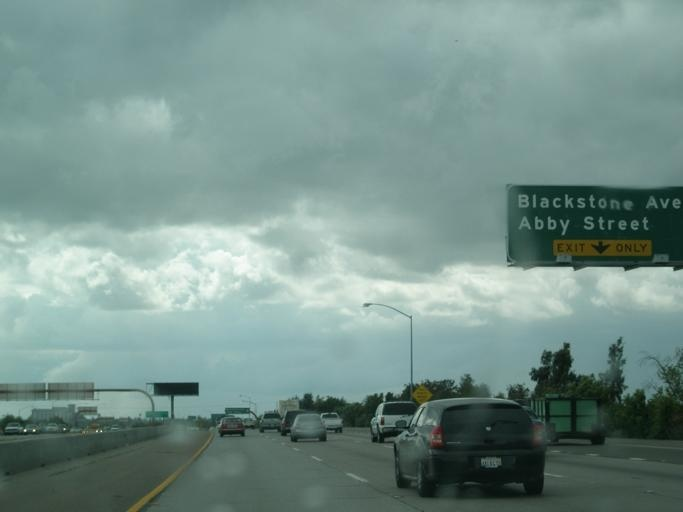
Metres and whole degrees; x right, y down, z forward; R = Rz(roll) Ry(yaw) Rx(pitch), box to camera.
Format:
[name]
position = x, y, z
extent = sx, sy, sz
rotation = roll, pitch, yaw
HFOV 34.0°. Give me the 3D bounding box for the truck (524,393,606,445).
[truck]
position = 10.829, 7.846, 53.276
extent = 3.411, 2.320, 3.059
rotation = 0, -8, -2
